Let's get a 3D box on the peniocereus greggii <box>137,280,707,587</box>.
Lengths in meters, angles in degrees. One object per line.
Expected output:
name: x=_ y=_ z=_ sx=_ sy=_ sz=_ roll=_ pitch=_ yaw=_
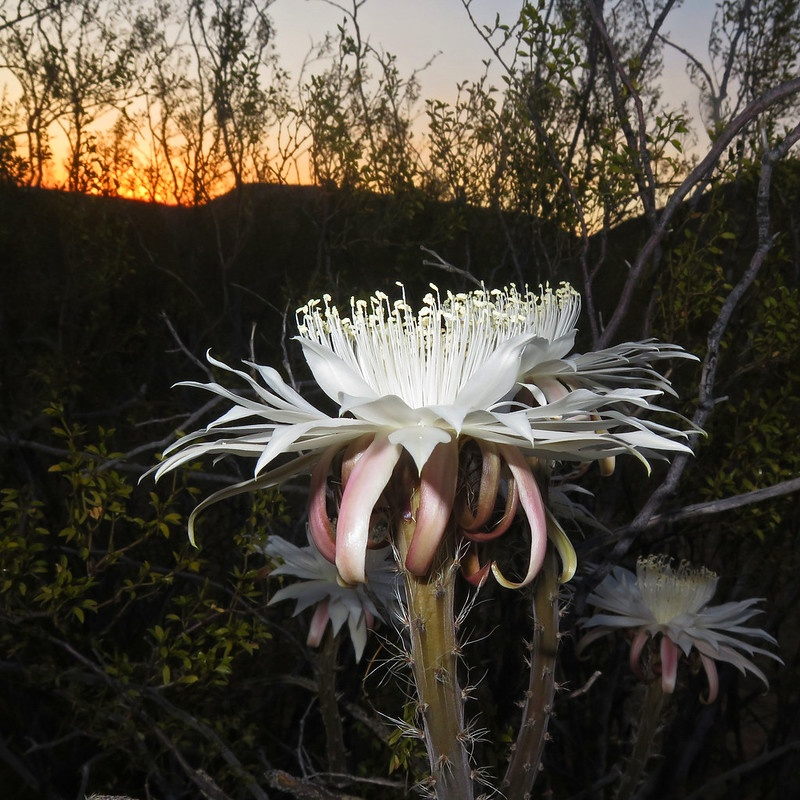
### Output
peniocereus greggii: x=0.035 y=0.039 z=1.085 sx=0.627 sy=0.325 sz=0.670 roll=-3 pitch=-6 yaw=35
